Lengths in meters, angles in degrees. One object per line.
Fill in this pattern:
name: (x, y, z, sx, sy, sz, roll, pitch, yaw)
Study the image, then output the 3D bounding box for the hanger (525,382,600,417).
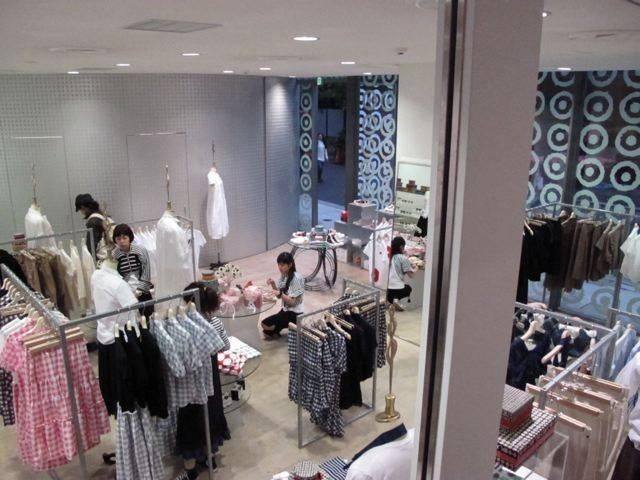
hanger: (1.487, 0.996, 2.806, 0.276, 0.083, 0.283, 11, 11, 36)

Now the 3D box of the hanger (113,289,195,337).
hanger: (-1.503, 0.648, 4.201, 0.539, 0.368, 0.185, -4, 20, -23)

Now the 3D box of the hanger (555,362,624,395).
hanger: (1.756, 0.908, 3.058, 0.243, 0.082, 0.240, -9, 12, -40)

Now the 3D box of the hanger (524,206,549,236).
hanger: (1.891, -0.160, 4.096, 0.188, 0.272, 0.080, 19, 22, 12)

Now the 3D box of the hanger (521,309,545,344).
hanger: (1.700, 0.691, 3.750, 0.088, 0.267, 0.181, 20, 10, -5)

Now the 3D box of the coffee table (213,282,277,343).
coffee table: (-0.904, 0.979, 5.780, 0.734, 0.565, 0.737, 15, 29, 32)

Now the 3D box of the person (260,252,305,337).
person: (-0.510, 0.766, 6.328, 0.571, 1.184, 0.619, -5, 28, -24)

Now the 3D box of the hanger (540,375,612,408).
hanger: (1.558, 0.931, 2.862, 0.215, 0.071, 0.159, -9, 15, -42)

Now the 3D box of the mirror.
mirror: (1.115, 0.025, 6.010, 0.569, 2.017, 1.425, -1, 11, 13)

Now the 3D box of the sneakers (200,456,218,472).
sneakers: (-1.021, 2.011, 4.248, 0.078, 0.100, 0.228, -9, 15, -40)

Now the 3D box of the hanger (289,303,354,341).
hanger: (0.002, 0.800, 4.344, 0.406, 0.159, 0.300, -8, 12, -44)

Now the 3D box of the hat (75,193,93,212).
hat: (-3.275, -0.523, 6.472, 0.210, 0.163, 0.281, -43, 17, -29)

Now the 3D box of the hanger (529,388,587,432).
hanger: (1.432, 1.003, 2.771, 0.297, 0.304, 0.074, 15, -21, 32)

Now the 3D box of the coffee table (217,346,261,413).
coffee table: (-0.807, 1.445, 4.784, 0.544, 0.381, 0.585, -1, 17, -2)

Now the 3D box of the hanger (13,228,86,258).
hanger: (-3.418, 0.031, 5.865, 1.038, 0.442, 0.123, 10, 19, 28)

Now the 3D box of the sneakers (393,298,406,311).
sneakers: (1.013, 0.808, 5.926, 0.102, 0.129, 0.324, 9, -28, 19)
